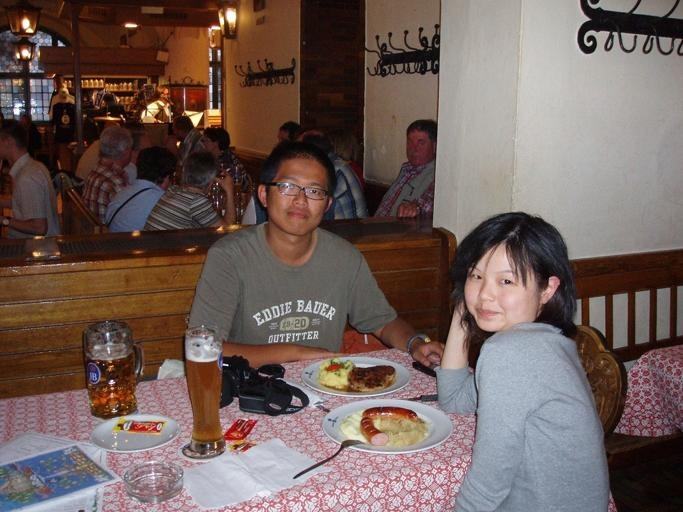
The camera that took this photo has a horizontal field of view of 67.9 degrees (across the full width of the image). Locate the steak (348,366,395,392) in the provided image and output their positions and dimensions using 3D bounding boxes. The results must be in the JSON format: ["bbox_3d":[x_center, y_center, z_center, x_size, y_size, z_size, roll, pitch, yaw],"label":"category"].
[{"bbox_3d":[0.103,0.411,1.725,0.101,0.031,0.080,-6,9,-15],"label":"steak"}]

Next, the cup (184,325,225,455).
[{"bbox_3d":[-0.357,0.354,1.303,0.107,0.318,0.088,6,14,23],"label":"cup"}]

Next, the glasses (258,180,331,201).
[{"bbox_3d":[-0.191,-0.271,2.111,0.240,0.078,0.075,1,13,2],"label":"glasses"}]

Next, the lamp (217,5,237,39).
[{"bbox_3d":[-1.937,-3.987,8.661,0.303,0.525,0.579,-2,13,-10],"label":"lamp"}]

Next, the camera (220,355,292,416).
[{"bbox_3d":[-0.263,0.395,1.557,0.197,0.087,0.137,5,7,-6],"label":"camera"}]

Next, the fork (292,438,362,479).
[{"bbox_3d":[-0.036,0.515,1.311,0.234,0.017,0.033,-11,18,-42],"label":"fork"}]

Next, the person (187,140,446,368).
[{"bbox_3d":[-0.091,-0.022,2.696,1.402,1.221,0.773,-6,11,-27],"label":"person"}]
